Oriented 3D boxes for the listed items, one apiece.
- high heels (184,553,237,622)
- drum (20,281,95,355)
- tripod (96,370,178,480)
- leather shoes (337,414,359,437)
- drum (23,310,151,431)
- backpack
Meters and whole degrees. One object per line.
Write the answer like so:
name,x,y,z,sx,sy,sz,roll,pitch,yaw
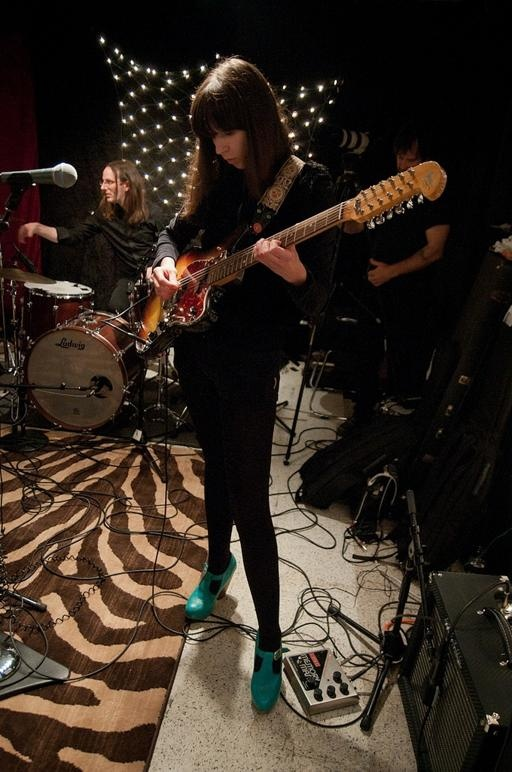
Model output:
high heels,-0.126,0.637,1.914,0.087,0.113,0.264,9,22,21
drum,-1.017,-0.413,3.050,0.371,0.383,0.380,3,19,-8
tripod,-0.613,0.198,3.272,0.543,0.486,0.616,12,-3,10
leather shoes,0.535,0.204,3.374,0.037,0.153,0.111,38,47,-19
drum,-0.871,-0.095,2.906,0.478,0.537,0.380,-10,14,15
backpack,0.447,0.323,2.579,0.144,0.515,0.346,41,27,-24
